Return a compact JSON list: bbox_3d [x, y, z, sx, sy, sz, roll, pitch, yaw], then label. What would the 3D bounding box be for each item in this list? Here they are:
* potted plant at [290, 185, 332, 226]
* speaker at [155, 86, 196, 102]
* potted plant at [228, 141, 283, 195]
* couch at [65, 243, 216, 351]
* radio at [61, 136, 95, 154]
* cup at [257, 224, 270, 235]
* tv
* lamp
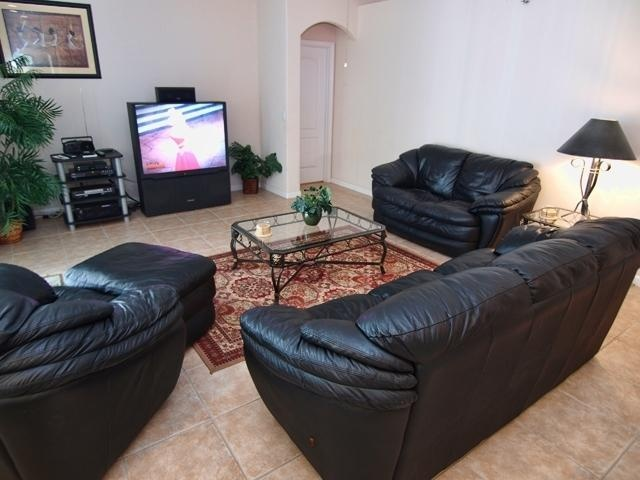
[{"bbox_3d":[-0.167,-0.371,4.508,0.505,0.363,0.487,6,18,15],"label":"potted plant"},{"bbox_3d":[-1.813,-1.795,5.702,0.397,0.247,0.079,-7,13,-24],"label":"speaker"},{"bbox_3d":[-0.981,-1.060,6.726,0.781,0.535,0.787,21,27,39],"label":"potted plant"},{"bbox_3d":[-1.256,0.209,3.343,1.102,0.677,0.762,16,26,27],"label":"couch"},{"bbox_3d":[-2.889,-1.102,5.442,0.372,0.234,0.267,-15,14,-38],"label":"radio"},{"bbox_3d":[-0.516,-0.099,4.135,0.104,0.059,0.099,1,17,0],"label":"cup"},{"bbox_3d":[-1.858,-1.277,5.799,1.072,0.739,0.119,-10,22,-33],"label":"tv"},{"bbox_3d":[2.600,-0.663,4.342,0.488,0.922,0.587,-17,28,-34],"label":"lamp"}]
